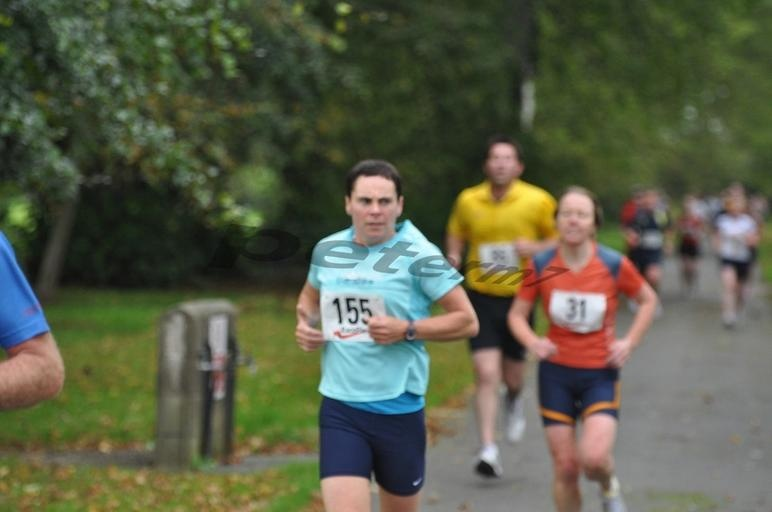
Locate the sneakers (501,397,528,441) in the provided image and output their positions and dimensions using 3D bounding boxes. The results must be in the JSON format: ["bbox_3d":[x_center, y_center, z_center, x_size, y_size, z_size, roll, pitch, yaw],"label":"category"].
[{"bbox_3d":[1.106,1.393,8.691,0.133,0.181,0.404,-4,32,4],"label":"sneakers"}]

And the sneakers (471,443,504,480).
[{"bbox_3d":[0.834,1.662,8.192,0.198,0.282,0.110,1,-11,6],"label":"sneakers"}]
